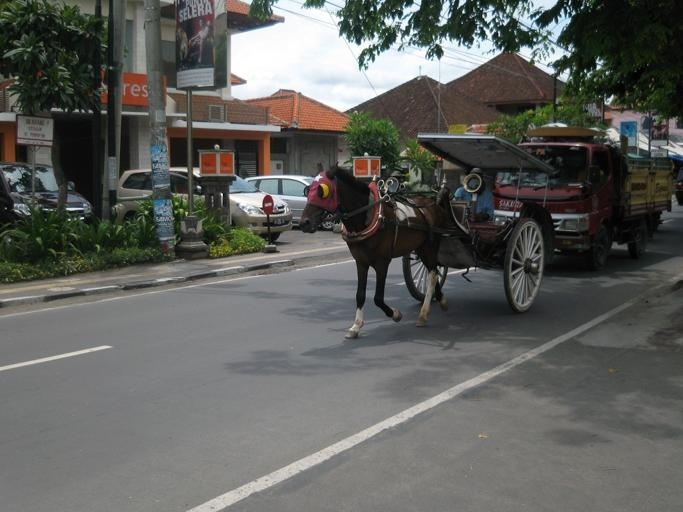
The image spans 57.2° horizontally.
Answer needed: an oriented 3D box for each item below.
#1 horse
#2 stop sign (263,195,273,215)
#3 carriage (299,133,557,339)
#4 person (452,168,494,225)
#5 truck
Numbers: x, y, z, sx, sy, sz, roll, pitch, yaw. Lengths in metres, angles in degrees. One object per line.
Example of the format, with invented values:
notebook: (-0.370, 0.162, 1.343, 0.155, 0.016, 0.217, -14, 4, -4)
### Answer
horse: (0.731, -0.061, 9.645, 3.028, 2.606, 0.925, -3, 2, -41)
stop sign: (-2.160, -1.491, 18.316, 0.259, 0.595, 0.466, -2, 7, -16)
carriage: (1.299, -0.450, 10.516, 5.007, 3.218, 2.484, -7, 10, -33)
person: (2.579, -1.077, 11.648, 0.836, 1.509, 0.879, 1, 7, 35)
truck: (6.156, -1.723, 16.751, 2.972, 3.488, 6.413, 1, 2, 41)
